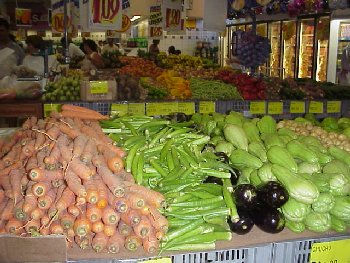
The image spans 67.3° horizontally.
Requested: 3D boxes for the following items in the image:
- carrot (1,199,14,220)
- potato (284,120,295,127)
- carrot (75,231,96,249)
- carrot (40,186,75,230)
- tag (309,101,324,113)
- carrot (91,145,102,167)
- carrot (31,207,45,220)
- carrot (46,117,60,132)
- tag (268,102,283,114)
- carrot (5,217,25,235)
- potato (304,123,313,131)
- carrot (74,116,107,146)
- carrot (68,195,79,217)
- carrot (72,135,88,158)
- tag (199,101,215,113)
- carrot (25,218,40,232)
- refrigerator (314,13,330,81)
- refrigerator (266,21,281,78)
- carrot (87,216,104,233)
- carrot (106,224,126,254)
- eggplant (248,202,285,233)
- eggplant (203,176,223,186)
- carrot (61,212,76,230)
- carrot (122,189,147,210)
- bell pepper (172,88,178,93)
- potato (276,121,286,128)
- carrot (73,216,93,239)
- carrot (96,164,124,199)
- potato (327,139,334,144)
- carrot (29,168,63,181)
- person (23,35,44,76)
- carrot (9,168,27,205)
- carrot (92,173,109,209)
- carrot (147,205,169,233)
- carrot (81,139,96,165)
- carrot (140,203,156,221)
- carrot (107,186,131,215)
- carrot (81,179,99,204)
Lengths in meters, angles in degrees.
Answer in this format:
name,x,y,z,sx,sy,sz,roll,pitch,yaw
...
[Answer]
name,x,y,z,sx,sy,sz,roll,pitch,yaw
carrot,-0.919,0.420,1.418,0.037,0.036,0.115,11,20,-11
potato,1.304,-0.097,2.923,0.072,0.035,0.078,-9,20,13
carrot,-0.482,0.553,1.363,0.056,0.043,0.114,-1,-1,-9
carrot,-0.623,0.408,1.363,0.046,0.231,0.052,26,-21,4
tag,2.358,-0.397,4.270,0.274,0.191,0.067,-2,8,-17
carrot,-0.457,0.155,1.510,0.032,0.038,0.115,2,28,-3
carrot,-0.725,0.429,1.362,0.030,0.038,0.072,-1,-1,-1
carrot,-0.897,-0.041,1.880,0.075,0.061,0.106,-4,35,4
tag,1.664,-0.386,4.229,0.168,0.166,0.025,1,10,3
carrot,-0.846,0.491,1.374,0.053,0.065,0.116,2,-4,-10
potato,1.492,-0.047,2.855,0.088,0.073,0.111,3,9,13
carrot,-0.622,0.000,1.866,0.051,0.050,0.278,-19,50,-40
carrot,-0.531,0.393,1.364,0.045,0.119,0.043,0,-9,-5
carrot,-0.560,0.079,1.528,0.048,0.048,0.173,-6,30,-2
tag,0.526,-0.380,4.100,0.269,0.184,0.069,-1,8,-15
carrot,-0.750,0.494,1.369,0.040,0.046,0.085,2,10,39
refrigerator,5.453,-3.165,9.460,0.166,2.208,0.494,-45,44,-19
refrigerator,4.378,-3.569,11.365,0.395,2.323,1.032,0,8,-6
carrot,-0.411,0.480,1.345,0.034,0.074,0.028,-28,-8,-34
carrot,-0.304,0.551,1.348,0.058,0.054,0.132,4,30,-5
eggplant,0.564,0.514,1.628,0.114,0.111,0.246,-9,17,-23
eggplant,0.278,0.337,1.802,0.063,0.055,0.087,-9,-11,23
carrot,-0.561,0.460,1.343,0.040,0.040,0.087,3,7,-12
carrot,-0.202,0.347,1.383,0.061,0.061,0.139,-8,13,-29
bell pepper,0.009,-0.709,4.601,0.098,0.061,0.081,1,9,-2
potato,1.186,-0.079,2.867,0.100,0.064,0.081,-12,2,1
carrot,-0.474,0.483,1.319,0.048,0.054,0.117,-1,-3,-2
carrot,-0.373,0.245,1.458,0.072,0.078,0.276,-6,41,-35
potato,1.617,0.106,2.666,0.039,0.022,0.041,13,25,33
carrot,-0.695,0.226,1.415,0.049,0.058,0.182,-13,-8,34
person,-3.468,-1.827,6.318,0.418,0.901,0.688,-5,10,-36
carrot,-0.881,0.288,1.479,0.063,0.079,0.231,-17,46,-8
carrot,-0.406,0.313,1.411,0.055,0.061,0.194,27,24,-36
carrot,-0.098,0.472,1.437,0.064,0.063,0.158,-23,63,-38
carrot,-0.518,0.116,1.554,0.077,0.102,0.214,-1,10,-16
carrot,-0.144,0.416,1.398,0.046,0.103,0.039,-28,4,-25
carrot,-0.273,0.375,1.427,0.095,0.096,0.230,0,-31,11
carrot,-0.435,0.312,1.347,0.048,0.054,0.173,23,19,-26
